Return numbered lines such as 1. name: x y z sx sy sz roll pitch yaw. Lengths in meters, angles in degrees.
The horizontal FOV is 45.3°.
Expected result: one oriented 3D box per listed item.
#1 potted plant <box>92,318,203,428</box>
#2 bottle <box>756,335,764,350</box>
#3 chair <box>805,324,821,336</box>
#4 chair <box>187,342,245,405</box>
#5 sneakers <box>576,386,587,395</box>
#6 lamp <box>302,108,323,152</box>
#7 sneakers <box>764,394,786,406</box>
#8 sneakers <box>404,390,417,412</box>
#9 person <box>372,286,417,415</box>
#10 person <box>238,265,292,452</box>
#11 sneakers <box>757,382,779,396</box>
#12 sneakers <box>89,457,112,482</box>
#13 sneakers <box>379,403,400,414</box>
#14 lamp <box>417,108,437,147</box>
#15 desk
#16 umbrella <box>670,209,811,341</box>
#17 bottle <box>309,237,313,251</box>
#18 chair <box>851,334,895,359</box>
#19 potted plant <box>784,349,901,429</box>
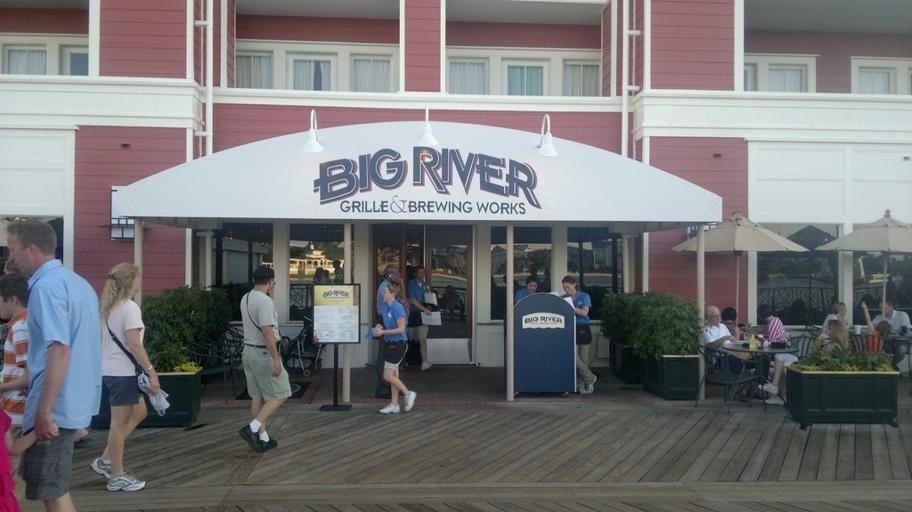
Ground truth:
1. potted plant: -6.589 2.828 23.753 1.881 1.273 1.832 0 -1 0
2. bottle: 6.919 1.928 24.840 0.140 0.272 0.340 1 15 3
3. chair: 8.885 1.833 27.144 0.301 0.343 0.263 0 -6 5
4. chair: -5.532 2.652 25.386 1.364 1.786 1.228 -2 -1 12
5. sneakers: 2.972 3.153 25.606 0.175 0.057 0.249 4 19 -4
6. lamp: -3.176 -2.790 24.179 0.432 0.924 0.424 -2 15 -7
7. sneakers: 7.296 3.302 24.954 0.584 0.213 0.206 4 0 8
8. sneakers: -1.037 3.221 24.474 0.234 0.510 0.177 22 -31 -18
9. person: -1.393 2.039 24.624 0.936 2.804 1.374 -1 15 -4
10. person: -4.070 2.176 22.837 0.993 3.730 1.011 -3 16 -12
11. sneakers: 7.181 3.058 25.033 0.629 0.244 0.233 11 -13 -38
12. sneakers: -7.201 4.354 22.105 0.588 0.262 0.200 40 10 -10
13. sneakers: -1.477 3.431 24.424 0.435 0.169 0.201 2 -3 -6
14. lamp: -0.615 -2.934 24.368 0.438 0.870 0.619 0 15 2
15. desk: 7.095 2.750 25.409 1.626 1.084 1.549 -1 -5 0
16. umbrella: 6.798 0.378 26.631 3.508 2.412 3.311 0 -1 20
17. bottle: -3.717 -0.285 27.892 0.141 0.229 0.050 -4 16 -14
18. chair: 9.552 2.055 25.486 0.863 0.314 0.743 2 2 36
19. potted plant: 8.650 2.967 24.674 1.932 1.330 1.852 0 -5 7
